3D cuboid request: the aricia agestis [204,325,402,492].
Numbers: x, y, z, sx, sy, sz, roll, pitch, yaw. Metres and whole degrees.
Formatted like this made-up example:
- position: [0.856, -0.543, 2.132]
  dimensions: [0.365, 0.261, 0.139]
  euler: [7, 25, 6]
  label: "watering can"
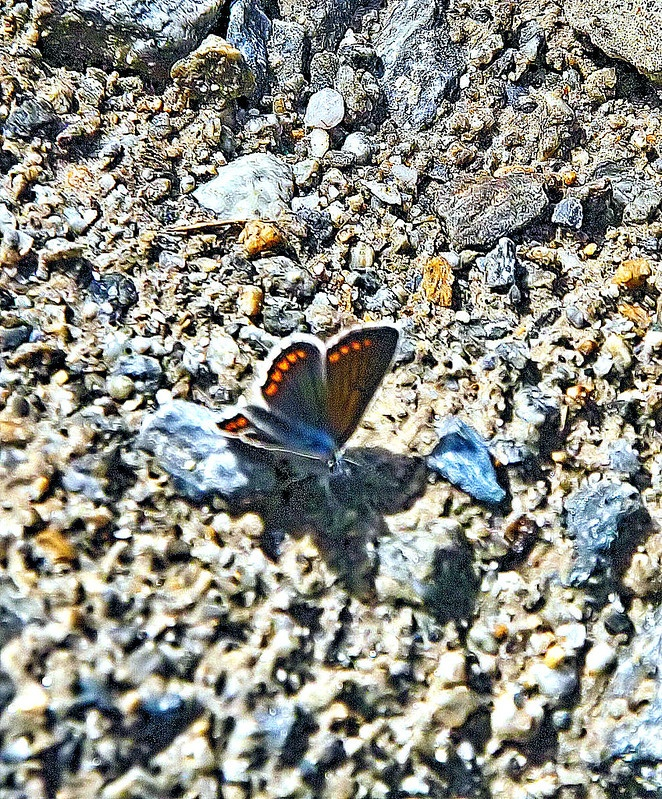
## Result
- position: [-0.036, -0.051, 2.886]
  dimensions: [0.265, 0.174, 0.377]
  euler: [29, 69, 5]
  label: "aricia agestis"
